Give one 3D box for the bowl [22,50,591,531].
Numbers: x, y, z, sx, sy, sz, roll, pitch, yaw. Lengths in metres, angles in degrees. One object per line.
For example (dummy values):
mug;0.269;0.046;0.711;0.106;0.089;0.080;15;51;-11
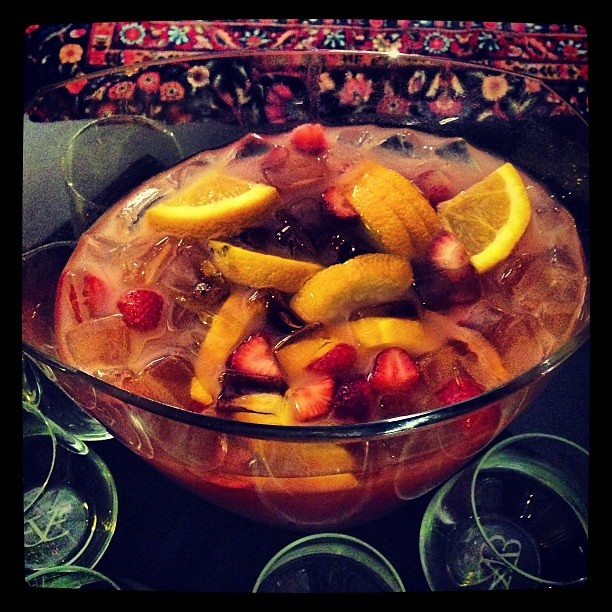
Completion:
bowl;0.027;0.155;1.761;1.251;0.660;0.918;-2;59;1
